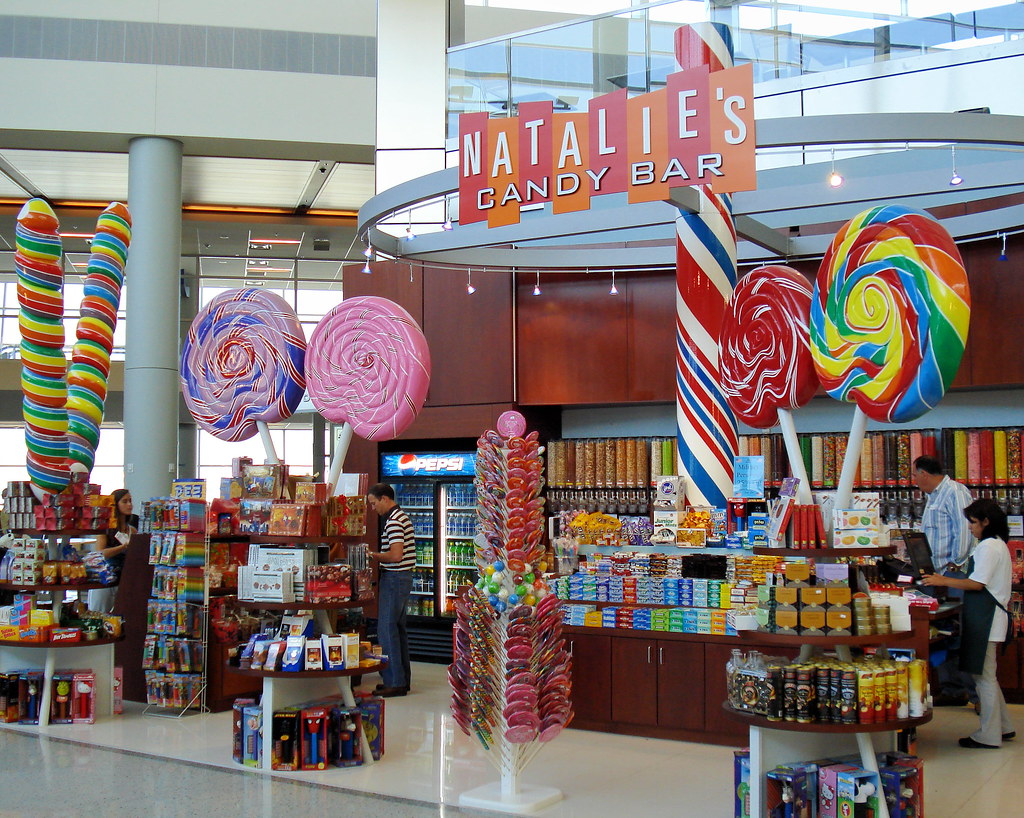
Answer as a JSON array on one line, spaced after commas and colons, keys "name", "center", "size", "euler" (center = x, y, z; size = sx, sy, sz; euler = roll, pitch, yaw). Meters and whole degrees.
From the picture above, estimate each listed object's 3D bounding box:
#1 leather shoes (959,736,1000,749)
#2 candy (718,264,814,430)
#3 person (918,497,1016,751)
[{"name": "leather shoes", "center": [3.298, 2.351, 7.697], "size": [0.223, 0.096, 0.085], "euler": [-2, -5, 29]}, {"name": "candy", "center": [1.776, -0.439, 7.321], "size": [0.372, 1.058, 0.883], "euler": [1, -6, -25]}, {"name": "person", "center": [3.323, 1.535, 7.807], "size": [0.562, 1.743, 0.398], "euler": [-3, -6, 12]}]
